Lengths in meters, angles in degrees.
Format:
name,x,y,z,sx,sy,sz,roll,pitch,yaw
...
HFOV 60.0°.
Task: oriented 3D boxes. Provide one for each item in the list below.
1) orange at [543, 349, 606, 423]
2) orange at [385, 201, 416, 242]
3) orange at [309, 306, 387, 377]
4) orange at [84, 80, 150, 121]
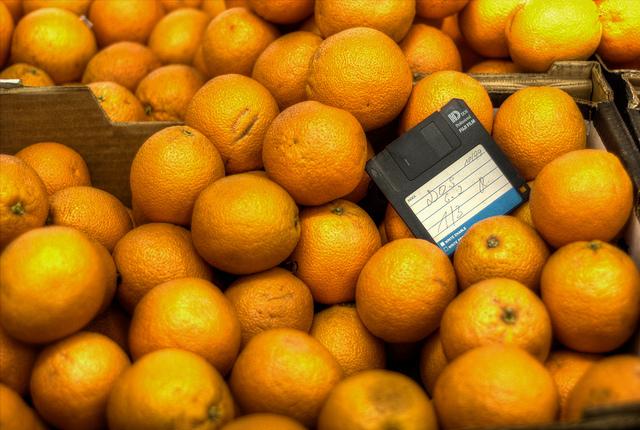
name,x,y,z,sx,sy,sz,roll,pitch,yaw
orange,0.650,0.443,1.416,0.120,0.126,0.151,-25,95,24
orange,0.265,0.010,1.873,0.122,0.104,0.107,19,86,7
orange,0.067,0.398,1.763,0.190,0.228,0.201,-14,27,44
orange,-0.813,-0.466,2.255,0.181,0.215,0.178,-22,24,-24
